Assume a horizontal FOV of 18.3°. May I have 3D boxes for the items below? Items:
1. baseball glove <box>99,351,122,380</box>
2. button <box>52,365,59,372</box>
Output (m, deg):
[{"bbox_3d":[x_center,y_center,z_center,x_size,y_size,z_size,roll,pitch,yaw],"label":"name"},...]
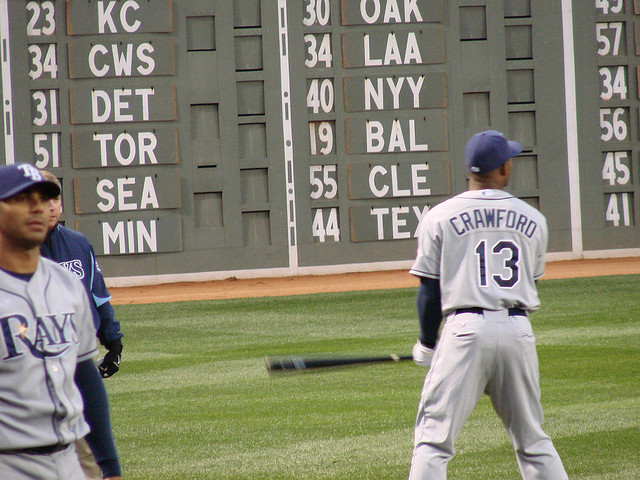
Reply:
[{"bbox_3d":[-3.358,2.054,32.053,0.264,0.483,0.181,19,-4,-2],"label":"baseball glove"},{"bbox_3d":[-4.047,2.020,30.409,0.082,0.090,0.018,9,-3,-1],"label":"button"}]
